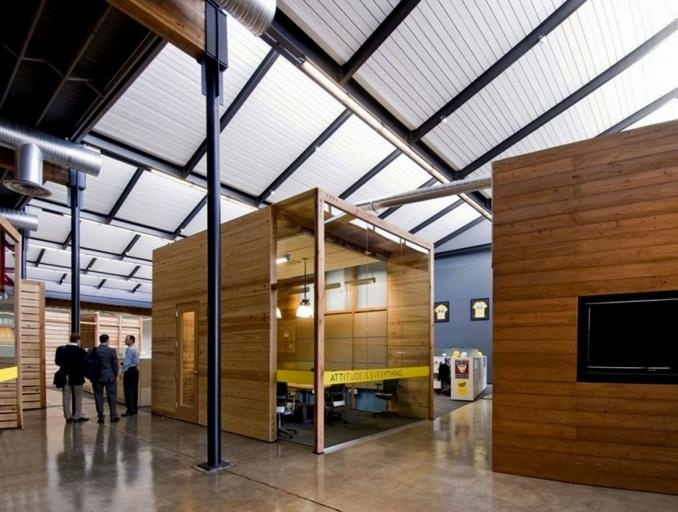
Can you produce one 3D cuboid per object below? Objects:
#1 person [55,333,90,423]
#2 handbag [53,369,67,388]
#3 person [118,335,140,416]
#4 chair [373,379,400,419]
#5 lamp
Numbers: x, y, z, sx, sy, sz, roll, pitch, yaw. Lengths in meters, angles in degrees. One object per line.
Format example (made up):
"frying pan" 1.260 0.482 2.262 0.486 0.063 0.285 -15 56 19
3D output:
"person" -5.563 2.553 10.559 0.624 1.839 0.798 1 -2 -21
"handbag" -5.677 2.495 10.320 0.239 0.413 0.412 1 -3 -29
"person" -4.788 2.733 11.638 0.351 1.774 0.811 1 -2 -23
"chair" 1.048 3.095 11.031 0.496 0.879 0.588 0 -2 4
"lamp" -0.299 0.604 9.876 1.286 1.176 1.267 -3 -9 25
